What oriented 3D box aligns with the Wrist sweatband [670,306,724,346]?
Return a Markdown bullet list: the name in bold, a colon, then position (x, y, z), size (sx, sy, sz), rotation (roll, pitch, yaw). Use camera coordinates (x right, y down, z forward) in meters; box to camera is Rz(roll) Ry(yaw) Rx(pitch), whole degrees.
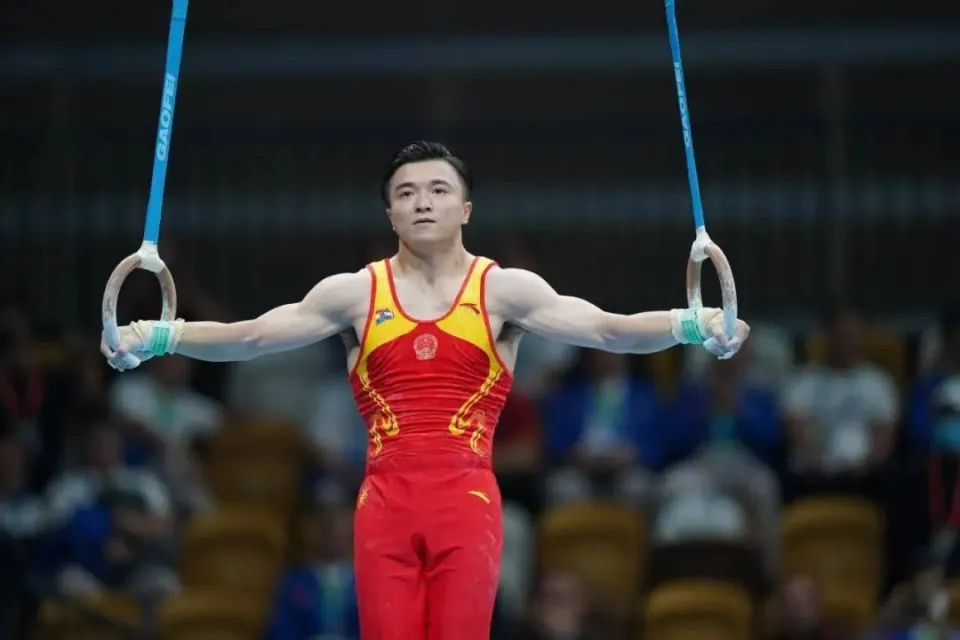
- **Wrist sweatband**: position (1.382, 0.037, 9.227), size (0.277, 0.148, 0.207), rotation (-2, -7, 14)
